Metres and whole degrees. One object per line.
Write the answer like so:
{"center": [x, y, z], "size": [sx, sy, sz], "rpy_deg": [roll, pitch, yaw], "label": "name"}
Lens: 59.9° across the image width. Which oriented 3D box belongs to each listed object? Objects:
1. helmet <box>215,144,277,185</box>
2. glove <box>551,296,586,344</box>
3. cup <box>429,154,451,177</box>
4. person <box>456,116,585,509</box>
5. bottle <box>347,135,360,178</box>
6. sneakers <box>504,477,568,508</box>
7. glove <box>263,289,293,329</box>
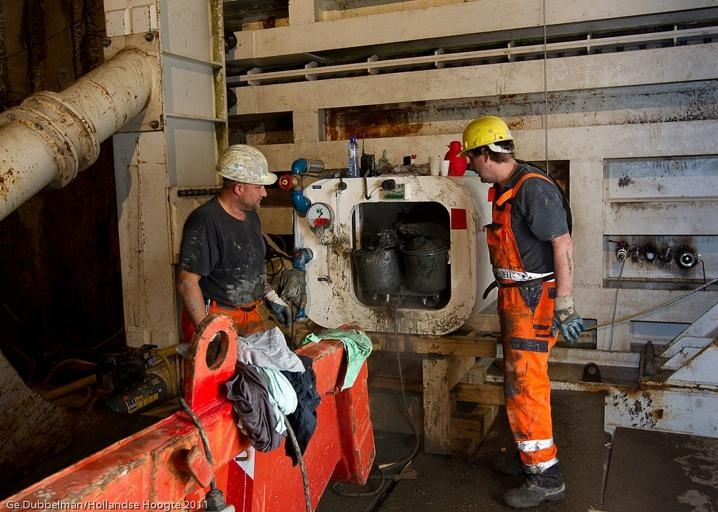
{"center": [-0.847, -0.698, 4.665], "size": [0.354, 0.200, 0.296], "rpy_deg": [2, 30, -6], "label": "helmet"}
{"center": [1.490, 0.448, 4.444], "size": [0.173, 0.358, 0.213], "rpy_deg": [3, 5, 24], "label": "glove"}
{"center": [0.655, -0.742, 5.133], "size": [0.113, 0.133, 0.175], "rpy_deg": [-1, -4, 6], "label": "cup"}
{"center": [1.181, 0.379, 4.515], "size": [0.806, 2.806, 0.408], "rpy_deg": [3, 5, 20], "label": "person"}
{"center": [-0.041, -0.859, 5.309], "size": [0.096, 0.359, 0.268], "rpy_deg": [1, 5, -1], "label": "bottle"}
{"center": [1.240, 1.665, 4.535], "size": [0.479, 0.238, 0.181], "rpy_deg": [-3, 5, -6], "label": "sneakers"}
{"center": [-0.680, 0.464, 5.205], "size": [0.118, 0.349, 0.201], "rpy_deg": [-19, 35, 17], "label": "glove"}
